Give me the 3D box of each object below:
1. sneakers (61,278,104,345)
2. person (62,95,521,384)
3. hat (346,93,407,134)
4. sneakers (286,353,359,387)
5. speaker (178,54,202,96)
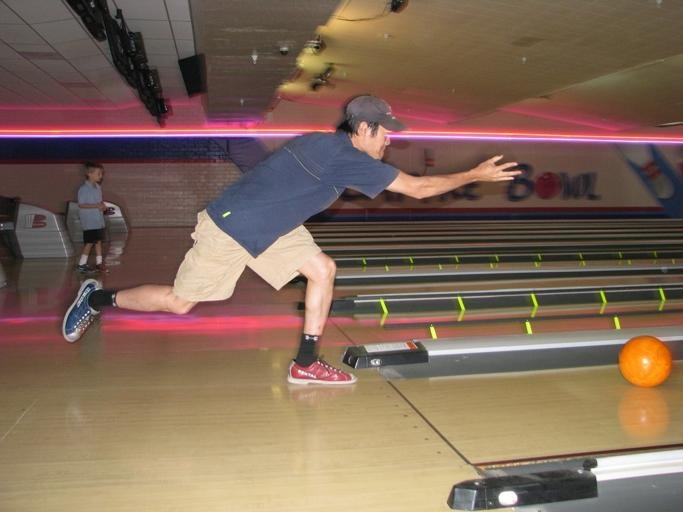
[{"bbox_3d":[-1.546,0.346,2.572,0.174,0.334,0.157,18,-14,17],"label":"sneakers"},{"bbox_3d":[-0.289,-0.135,2.110,1.969,1.110,0.813,1,11,-6],"label":"person"},{"bbox_3d":[0.151,-0.605,1.858,0.302,0.112,0.173,2,12,6],"label":"hat"},{"bbox_3d":[-0.100,0.541,2.015,0.354,0.110,0.117,1,-1,-6],"label":"sneakers"},{"bbox_3d":[-2.373,-2.950,6.905,0.410,0.099,0.525,-8,-29,4],"label":"speaker"}]
